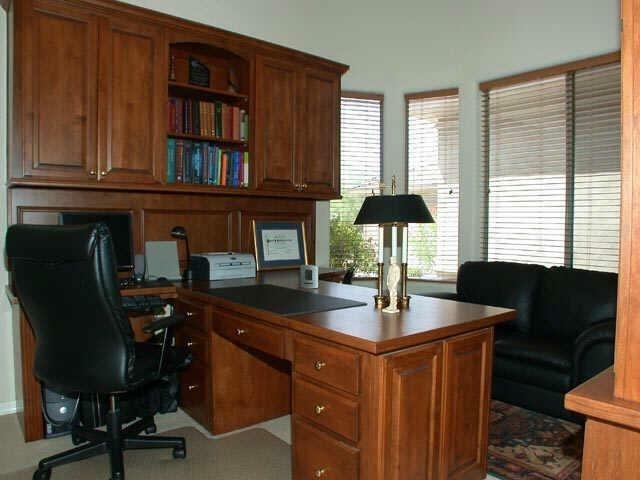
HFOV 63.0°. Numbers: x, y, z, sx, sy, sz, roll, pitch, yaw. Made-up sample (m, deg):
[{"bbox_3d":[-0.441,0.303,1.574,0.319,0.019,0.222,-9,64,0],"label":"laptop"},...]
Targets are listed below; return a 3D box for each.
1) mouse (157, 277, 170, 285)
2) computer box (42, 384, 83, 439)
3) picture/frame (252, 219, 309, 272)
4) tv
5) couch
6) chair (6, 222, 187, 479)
[{"bbox_3d":[-1.140,0.303,3.818,0.065,0.015,0.068,11,11,36],"label":"mouse"},{"bbox_3d":[-1.804,1.217,3.709,0.231,0.392,0.222,-9,-37,-17],"label":"computer box"},{"bbox_3d":[-0.375,0.057,4.625,0.580,0.390,0.023,1,-18,-44],"label":"picture/frame"},{"bbox_3d":[-1.348,0.006,3.140,0.533,0.435,0.050,1,-7,-34],"label":"tv"},{"bbox_3d":[1.643,0.654,4.165,1.048,1.097,1.893,1,-1,-39],"label":"couch"},{"bbox_3d":[-1.308,0.652,3.074,0.835,1.540,0.504,3,10,14],"label":"chair"}]
